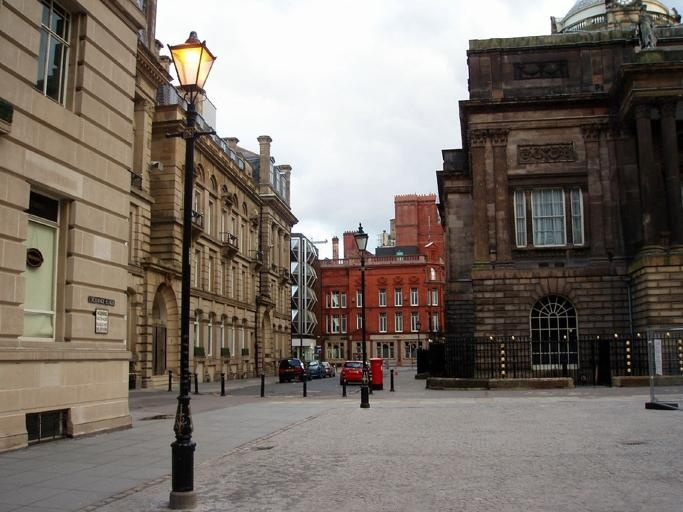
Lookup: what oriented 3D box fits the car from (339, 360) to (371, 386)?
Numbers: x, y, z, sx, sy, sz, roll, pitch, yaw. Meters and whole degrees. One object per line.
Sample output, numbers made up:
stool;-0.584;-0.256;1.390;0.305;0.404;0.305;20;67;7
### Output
car;0.634;6.957;43.558;1.721;1.573;3.051;0;-3;3
